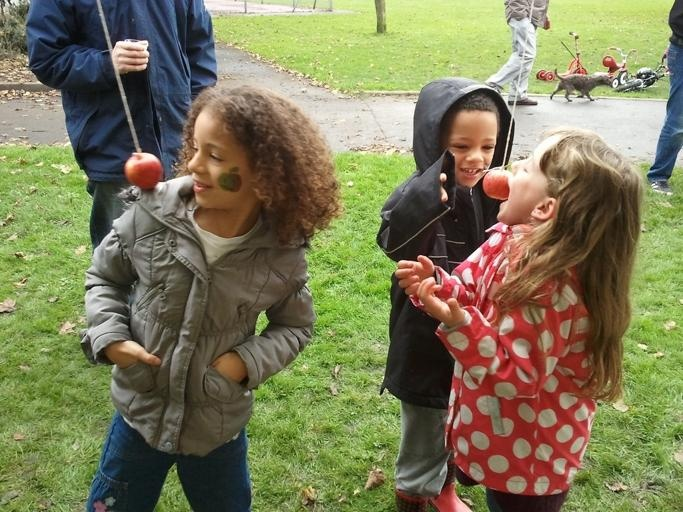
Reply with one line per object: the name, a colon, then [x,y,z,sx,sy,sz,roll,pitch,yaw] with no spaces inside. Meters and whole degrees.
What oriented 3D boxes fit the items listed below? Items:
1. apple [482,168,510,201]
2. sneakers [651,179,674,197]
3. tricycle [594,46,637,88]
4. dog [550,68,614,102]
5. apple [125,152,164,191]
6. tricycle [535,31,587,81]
apple: [0.685,-0.321,2.813,0.122,0.127,0.127,6,15,20]
sneakers: [3.660,-0.779,7.205,0.121,0.141,0.300,-16,24,-18]
tricycle: [5.793,-3.867,13.201,0.746,0.788,1.239,-4,9,41]
dog: [4.397,-3.097,11.569,1.057,0.515,0.290,1,23,-1]
apple: [-0.845,-0.371,2.692,0.154,0.183,0.155,-8,6,-16]
tricycle: [4.732,-4.149,13.265,0.599,0.884,0.888,-16,17,-41]
